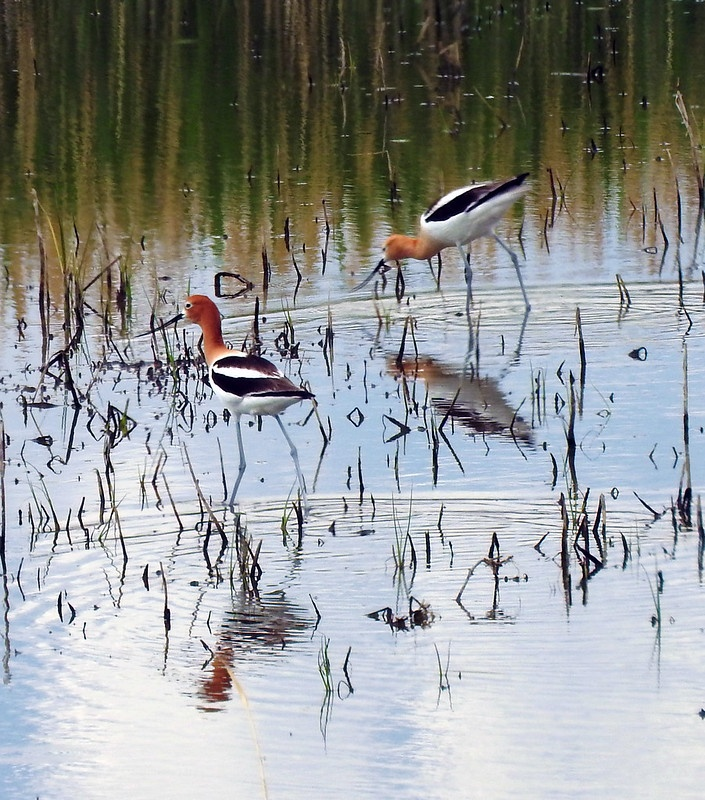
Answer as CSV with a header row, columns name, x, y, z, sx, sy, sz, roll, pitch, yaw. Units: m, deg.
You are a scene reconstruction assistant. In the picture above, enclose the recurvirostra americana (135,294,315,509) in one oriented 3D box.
name,x,y,z,sx,sy,sz,roll,pitch,yaw
recurvirostra americana,-0.582,-0.005,6.195,1.177,1.138,0.328,3,10,42
